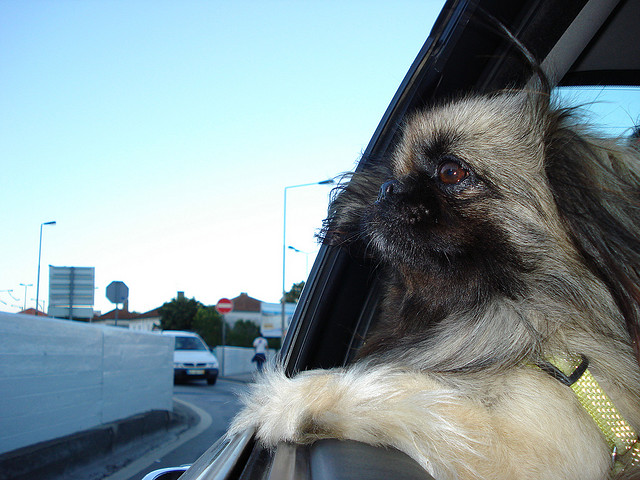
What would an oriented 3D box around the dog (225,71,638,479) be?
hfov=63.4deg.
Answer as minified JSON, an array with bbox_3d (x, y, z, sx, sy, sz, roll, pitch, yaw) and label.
[{"bbox_3d":[0.600,0.123,2.309,1.489,1.680,0.906,-4,-11,1],"label":"dog"}]
